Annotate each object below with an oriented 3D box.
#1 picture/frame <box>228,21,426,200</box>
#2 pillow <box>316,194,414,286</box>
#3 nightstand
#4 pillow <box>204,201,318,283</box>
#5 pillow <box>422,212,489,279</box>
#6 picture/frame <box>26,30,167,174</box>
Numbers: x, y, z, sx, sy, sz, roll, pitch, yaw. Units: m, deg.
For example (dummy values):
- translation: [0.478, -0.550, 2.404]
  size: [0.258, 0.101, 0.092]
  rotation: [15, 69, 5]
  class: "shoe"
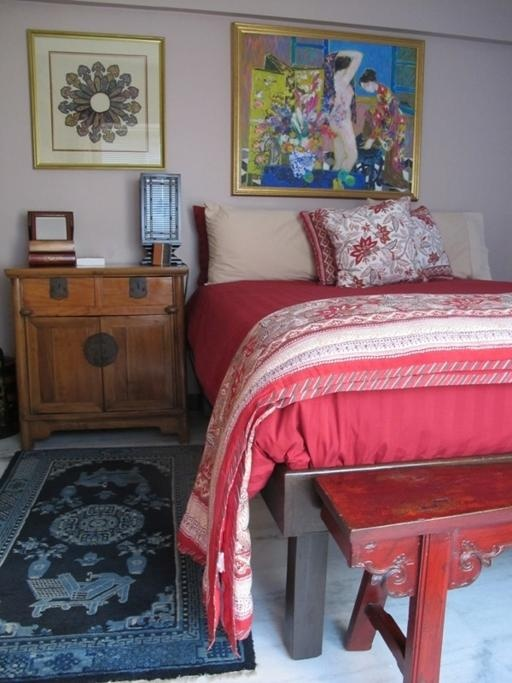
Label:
- translation: [0.393, -1.214, 3.061]
  size: [1.143, 0.813, 0.047]
  rotation: [-7, 18, -23]
  class: "picture/frame"
- translation: [0.474, -0.409, 2.460]
  size: [0.395, 0.348, 0.112]
  rotation: [-8, -8, -17]
  class: "pillow"
- translation: [-0.686, 0.067, 2.530]
  size: [0.870, 0.779, 0.389]
  rotation: [0, 14, -5]
  class: "nightstand"
- translation: [0.017, -0.462, 2.783]
  size: [0.490, 0.253, 0.161]
  rotation: [0, 12, -10]
  class: "pillow"
- translation: [1.027, -0.485, 3.085]
  size: [0.359, 0.355, 0.101]
  rotation: [-6, -10, -22]
  class: "pillow"
- translation: [-0.809, -1.196, 2.833]
  size: [0.779, 0.689, 0.033]
  rotation: [-2, 16, -10]
  class: "picture/frame"
